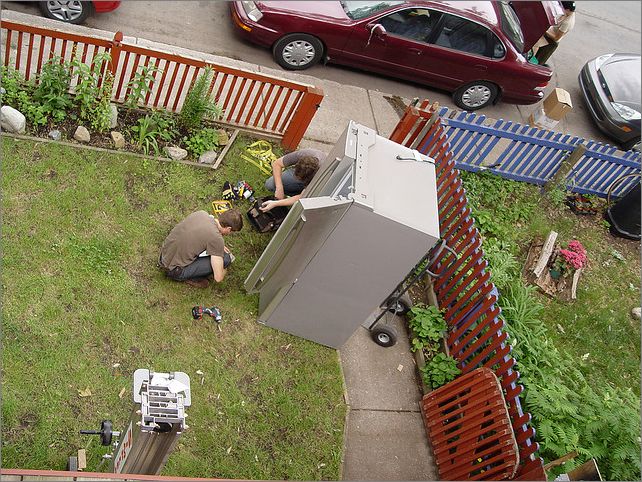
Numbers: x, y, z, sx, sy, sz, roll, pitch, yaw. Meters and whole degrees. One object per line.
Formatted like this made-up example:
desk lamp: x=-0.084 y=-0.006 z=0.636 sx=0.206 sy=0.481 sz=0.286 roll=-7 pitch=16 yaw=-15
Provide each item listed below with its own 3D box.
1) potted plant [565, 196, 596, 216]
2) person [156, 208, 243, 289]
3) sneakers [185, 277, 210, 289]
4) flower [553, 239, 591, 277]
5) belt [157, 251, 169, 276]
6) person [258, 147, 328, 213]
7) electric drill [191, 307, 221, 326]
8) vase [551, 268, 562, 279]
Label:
potted plant: x=5.222 y=-0.743 z=10.940 sx=0.637 sy=0.197 sz=0.422 roll=10 pitch=32 yaw=-27
person: x=-1.626 y=0.057 z=7.397 sx=0.966 sy=0.854 sz=1.109 roll=-14 pitch=64 yaw=-30
sneakers: x=-1.696 y=0.582 z=7.589 sx=0.337 sy=0.264 sz=0.115 roll=-1 pitch=-13 yaw=-5
flower: x=4.342 y=0.337 z=9.477 sx=0.503 sy=0.586 sz=0.421 roll=34 pitch=29 yaw=19
belt: x=-2.112 y=0.318 z=7.478 sx=0.092 sy=0.301 sz=0.223 roll=-14 pitch=19 yaw=-13
person: x=-0.409 y=-0.868 z=8.056 sx=0.372 sy=0.660 sz=0.814 roll=58 pitch=-6 yaw=-19
electric drill: x=-1.551 y=1.018 z=7.408 sx=0.338 sy=0.128 sz=0.218 roll=8 pitch=36 yaw=-39
vase: x=4.094 y=0.570 z=9.507 sx=0.136 sy=0.154 sz=0.166 roll=0 pitch=54 yaw=-4
